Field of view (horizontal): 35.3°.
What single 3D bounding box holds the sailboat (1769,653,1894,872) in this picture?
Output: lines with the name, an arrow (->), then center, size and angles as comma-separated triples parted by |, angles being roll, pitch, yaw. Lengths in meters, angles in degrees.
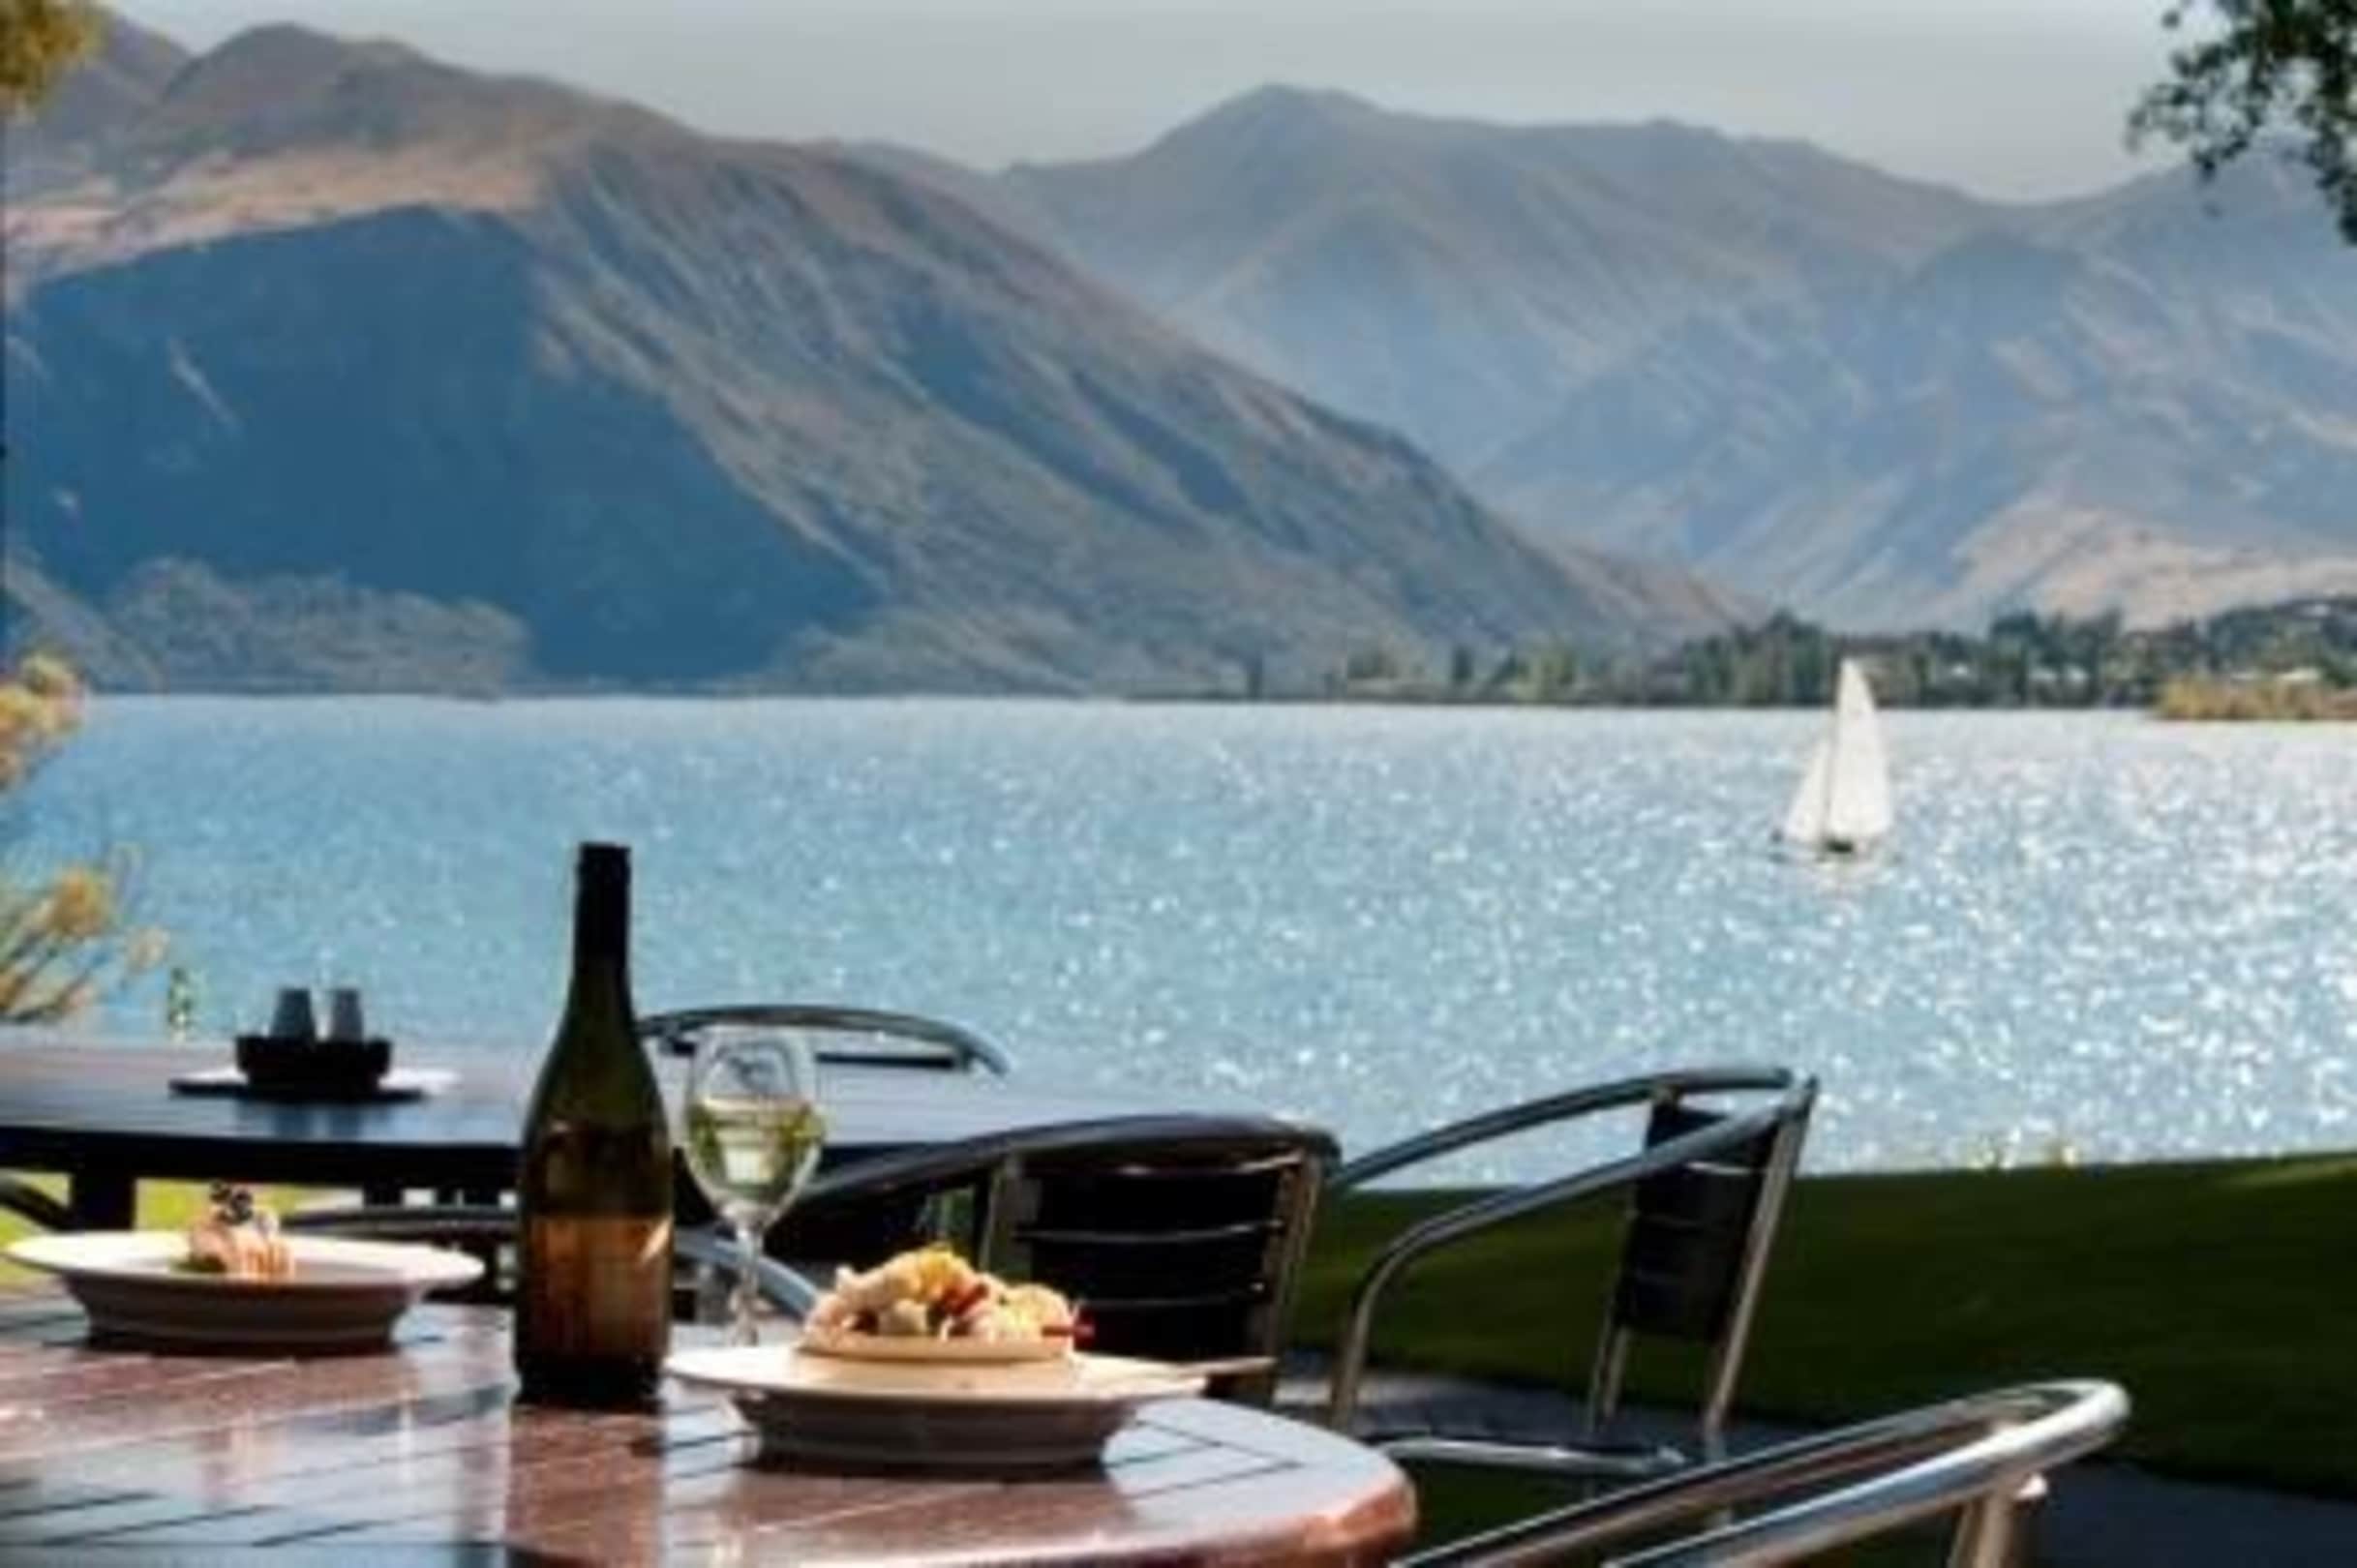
sailboat -> 49.091, -1.774, 276.623 | 8.102, 15.243, 17.273 | 2, 0, 8
